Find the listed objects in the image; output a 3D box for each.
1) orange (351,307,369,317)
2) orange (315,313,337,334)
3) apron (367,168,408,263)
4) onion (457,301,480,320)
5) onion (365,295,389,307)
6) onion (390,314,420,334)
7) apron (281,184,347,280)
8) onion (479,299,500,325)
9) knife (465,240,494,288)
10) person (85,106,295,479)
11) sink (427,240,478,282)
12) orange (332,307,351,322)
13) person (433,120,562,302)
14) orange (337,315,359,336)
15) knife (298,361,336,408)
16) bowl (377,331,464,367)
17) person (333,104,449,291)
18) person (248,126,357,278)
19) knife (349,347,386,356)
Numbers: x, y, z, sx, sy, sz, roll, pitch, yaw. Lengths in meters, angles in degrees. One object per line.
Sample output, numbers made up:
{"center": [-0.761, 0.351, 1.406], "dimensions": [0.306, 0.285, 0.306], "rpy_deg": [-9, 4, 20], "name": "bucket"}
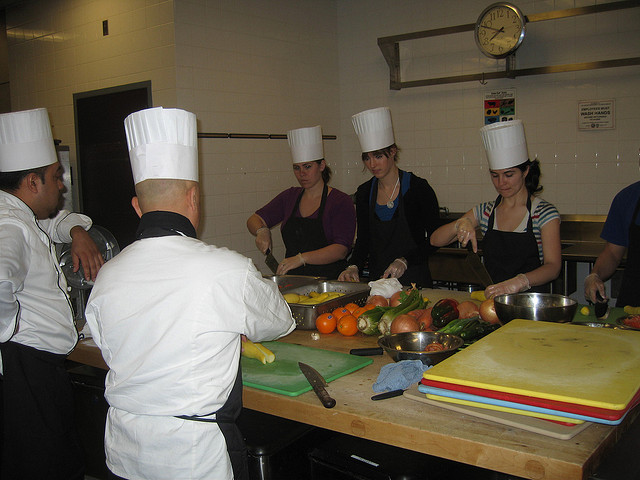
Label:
{"center": [0.173, 0.321, 2.168], "dimensions": [0.038, 0.049, 0.040], "rpy_deg": [11, -9, 24], "name": "orange"}
{"center": [0.027, 0.377, 2.224], "dimensions": [0.087, 0.090, 0.084], "rpy_deg": [11, 12, -32], "name": "orange"}
{"center": [0.439, -0.142, 3.158], "dimensions": [0.246, 0.589, 0.151], "rpy_deg": [-1, 9, 20], "name": "apron"}
{"center": [0.654, 0.310, 2.137], "dimensions": [0.113, 0.051, 0.095], "rpy_deg": [-11, 10, -39], "name": "onion"}
{"center": [0.270, 0.289, 2.342], "dimensions": [0.058, 0.062, 0.058], "rpy_deg": [3, -1, -34], "name": "onion"}
{"center": [0.337, 0.339, 1.951], "dimensions": [0.078, 0.084, 0.081], "rpy_deg": [-3, 24, 30], "name": "onion"}
{"center": [-0.070, -0.035, 3.474], "dimensions": [0.457, 0.663, 0.333], "rpy_deg": [3, 7, 15], "name": "apron"}
{"center": [0.723, 0.314, 2.102], "dimensions": [0.086, 0.090, 0.088], "rpy_deg": [-9, -29, 30], "name": "onion"}
{"center": [0.892, 0.145, 2.738], "dimensions": [0.126, 0.205, 0.430], "rpy_deg": [-1, 8, 17], "name": "knife"}
{"center": [-0.410, 0.170, 1.513], "dimensions": [0.524, 1.160, 0.372], "rpy_deg": [0, 9, 21], "name": "person"}
{"center": [1.111, 0.134, 4.273], "dimensions": [0.429, 0.297, 0.451], "rpy_deg": [-16, 17, -27], "name": "sink"}
{"center": [0.091, 0.331, 2.198], "dimensions": [0.051, 0.066, 0.054], "rpy_deg": [-7, 19, -11], "name": "orange"}
{"center": [0.955, -0.167, 2.601], "dimensions": [0.594, 0.939, 0.695], "rpy_deg": [-2, 8, 13], "name": "person"}
{"center": [0.121, 0.377, 2.115], "dimensions": [0.079, 0.087, 0.098], "rpy_deg": [5, -15, -12], "name": "orange"}
{"center": [-0.003, 0.497, 1.672], "dimensions": [0.067, 0.298, 0.018], "rpy_deg": [-4, 43, 27], "name": "knife"}
{"center": [0.364, 0.402, 1.786], "dimensions": [0.299, 0.091, 0.328], "rpy_deg": [2, 1, 0], "name": "bowl"}
{"center": [0.391, -0.235, 2.949], "dimensions": [0.653, 1.177, 1.364], "rpy_deg": [-2, 8, 13], "name": "person"}
{"center": [-0.133, -0.133, 3.368], "dimensions": [0.717, 1.310, 0.724], "rpy_deg": [4, 14, 27], "name": "person"}
{"center": [0.181, 0.437, 1.889], "dimensions": [0.156, 0.039, 0.044], "rpy_deg": [-3, 6, -4], "name": "knife"}
